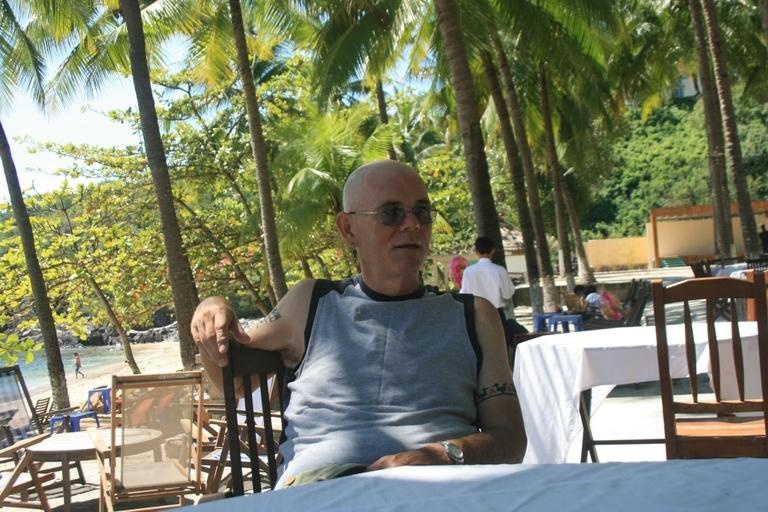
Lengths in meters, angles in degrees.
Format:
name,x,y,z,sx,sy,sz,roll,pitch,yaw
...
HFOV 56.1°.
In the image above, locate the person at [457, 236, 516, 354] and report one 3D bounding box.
name,x,y,z,sx,sy,sz,roll,pitch,yaw
person,1.723,0.744,11.821,0.808,2.171,0.688,2,19,18
